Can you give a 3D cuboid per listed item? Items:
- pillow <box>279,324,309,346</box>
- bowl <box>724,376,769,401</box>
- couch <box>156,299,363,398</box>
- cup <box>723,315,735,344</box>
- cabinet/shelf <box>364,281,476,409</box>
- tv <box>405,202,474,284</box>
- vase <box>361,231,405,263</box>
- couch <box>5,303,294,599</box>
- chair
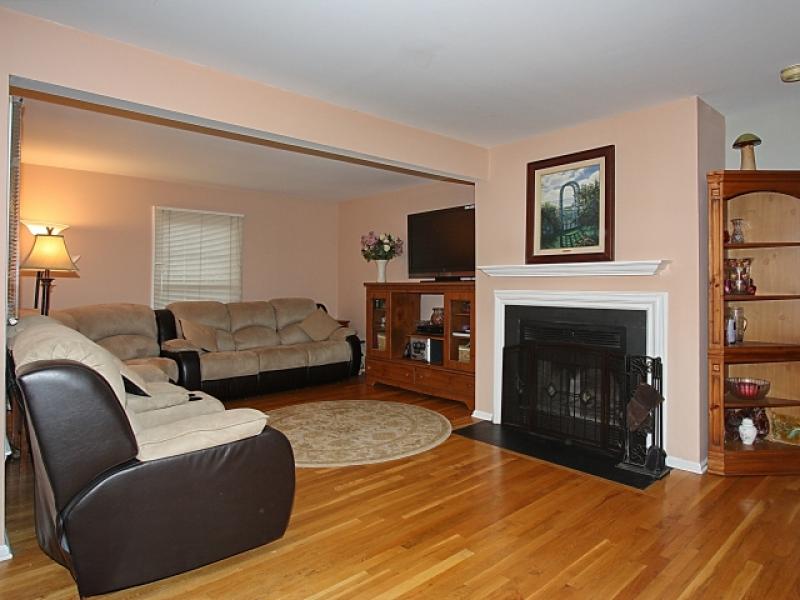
[{"bbox_3d":[-1.370,0.441,7.189,0.265,0.077,0.264,-3,16,-23],"label":"pillow"},{"bbox_3d":[2.632,0.669,4.308,0.189,0.084,0.194,1,-2,0],"label":"bowl"},{"bbox_3d":[-1.644,0.559,6.821,2.257,1.049,1.019,-4,6,-39],"label":"couch"},{"bbox_3d":[2.519,0.225,4.312,0.085,0.199,0.088,0,10,0],"label":"cup"},{"bbox_3d":[0.318,0.394,6.501,1.576,1.218,0.476,4,6,40],"label":"cabinet/shelf"},{"bbox_3d":[0.506,-0.623,6.404,0.113,0.799,1.186,-8,6,-38],"label":"tv"},{"bbox_3d":[-0.194,-0.686,7.290,0.526,0.353,0.409,-3,10,-17],"label":"vase"},{"bbox_3d":[-1.412,0.744,3.229,1.204,1.264,1.092,-7,12,-36],"label":"couch"},{"bbox_3d":[-2.801,0.541,5.864,0.763,0.875,1.289,12,3,13],"label":"chair"}]
